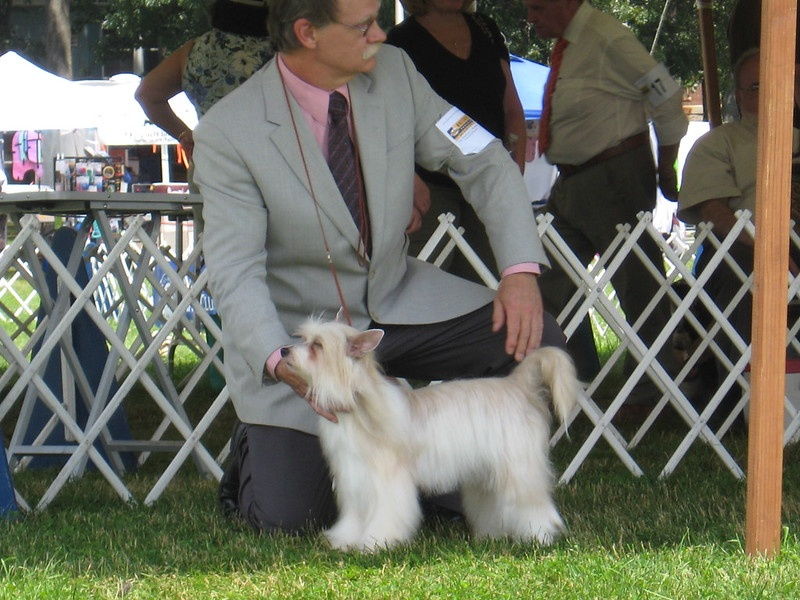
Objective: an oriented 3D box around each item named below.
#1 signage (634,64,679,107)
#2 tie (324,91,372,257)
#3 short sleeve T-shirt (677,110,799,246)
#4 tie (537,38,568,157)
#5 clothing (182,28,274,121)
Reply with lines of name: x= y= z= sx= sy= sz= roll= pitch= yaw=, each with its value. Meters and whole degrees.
signage: x=1.622 y=-1.328 z=7.728 sx=0.152 sy=0.240 sz=0.246 roll=-37 pitch=83 yaw=-17
tie: x=-0.254 y=-0.661 z=6.083 sx=0.167 sy=0.921 sz=0.109 roll=-8 pitch=-3 yaw=-1
short sleeve T-shirt: x=2.038 y=-0.819 z=7.889 sx=0.986 sy=1.023 sz=0.532 roll=1 pitch=5 yaw=-17
tie: x=0.985 y=-1.313 z=7.934 sx=0.079 sy=1.054 sz=0.096 roll=10 pitch=-2 yaw=-44
clothing: x=-1.023 y=-1.357 z=7.733 sx=0.536 sy=0.383 sz=0.730 roll=-1 pitch=61 yaw=-5
